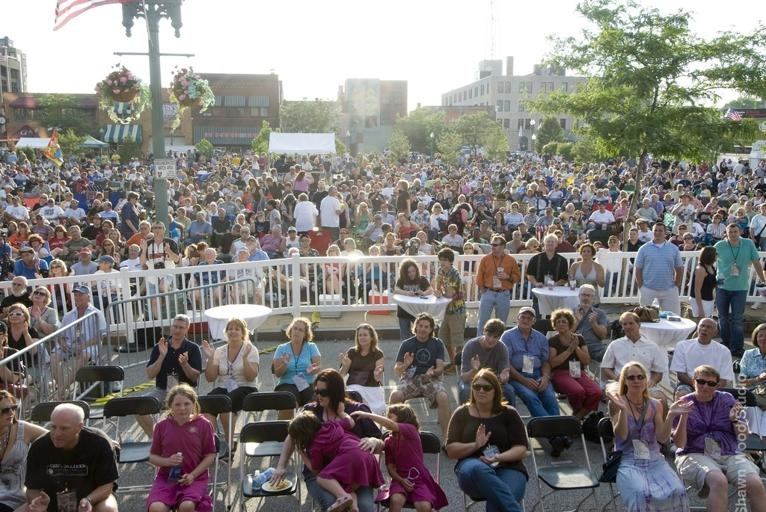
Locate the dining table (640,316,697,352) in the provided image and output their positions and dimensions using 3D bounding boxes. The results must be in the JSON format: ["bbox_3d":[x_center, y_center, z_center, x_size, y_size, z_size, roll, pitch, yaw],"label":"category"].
[{"bbox_3d":[5.288,1.474,16.114,1.082,0.603,0.581,-4,7,-25],"label":"dining table"}]

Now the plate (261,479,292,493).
[{"bbox_3d":[-1.633,3.503,13.350,0.474,0.171,0.236,-2,6,-3],"label":"plate"}]

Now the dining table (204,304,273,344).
[{"bbox_3d":[-2.862,1.362,17.046,1.199,0.467,1.271,2,3,27],"label":"dining table"}]

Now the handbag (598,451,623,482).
[{"bbox_3d":[3.585,3.311,13.687,0.190,0.478,0.376,6,-3,40],"label":"handbag"}]

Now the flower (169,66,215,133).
[{"bbox_3d":[-4.527,-3.865,20.524,0.920,0.773,0.892,-7,6,15],"label":"flower"}]

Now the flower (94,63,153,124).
[{"bbox_3d":[-6.045,-3.765,20.228,1.182,1.262,1.946,-3,6,-16],"label":"flower"}]

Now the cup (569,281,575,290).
[{"bbox_3d":[3.856,0.597,17.626,0.142,0.166,0.144,-2,4,0],"label":"cup"}]
